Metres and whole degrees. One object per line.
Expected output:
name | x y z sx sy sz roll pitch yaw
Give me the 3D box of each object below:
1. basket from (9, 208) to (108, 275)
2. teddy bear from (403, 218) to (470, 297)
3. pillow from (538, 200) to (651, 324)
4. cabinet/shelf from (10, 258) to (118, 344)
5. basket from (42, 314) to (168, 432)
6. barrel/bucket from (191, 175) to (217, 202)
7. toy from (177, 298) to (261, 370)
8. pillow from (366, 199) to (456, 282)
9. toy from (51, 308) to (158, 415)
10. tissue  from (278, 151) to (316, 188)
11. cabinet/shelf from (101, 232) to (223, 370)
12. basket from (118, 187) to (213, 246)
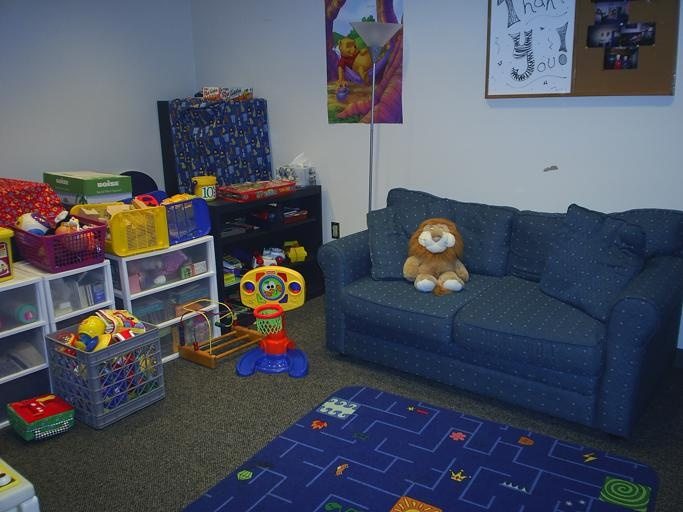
basket | -1.648 -0.043 2.953 0.540 0.229 0.242 -2 18 -2
teddy bear | 0.583 -0.013 3.389 0.477 0.512 0.429 1 9 6
pillow | 1.436 0.046 2.948 0.596 0.576 0.196 30 10 36
cabinet/shelf | -1.600 0.229 3.167 0.400 0.536 0.548 18 25 38
basket | -1.354 0.609 3.107 0.612 0.559 0.615 9 16 37
barrel/bucket | -1.018 -0.511 3.946 0.161 0.157 0.209 14 19 42
toy | -0.849 0.549 3.563 0.421 0.378 0.570 14 24 29
pillow | 0.360 -0.078 3.580 0.525 0.506 0.155 -3 -8 -2
toy | -1.343 0.588 2.970 0.415 0.544 0.492 13 23 37
tissue  | -0.350 -0.705 4.354 0.288 0.300 0.310 -1 5 -45
cabinet/shelf | -1.165 0.282 3.271 0.306 0.856 0.745 8 16 36
basket | -1.217 -0.258 3.570 0.469 0.335 0.167 -3 10 37
